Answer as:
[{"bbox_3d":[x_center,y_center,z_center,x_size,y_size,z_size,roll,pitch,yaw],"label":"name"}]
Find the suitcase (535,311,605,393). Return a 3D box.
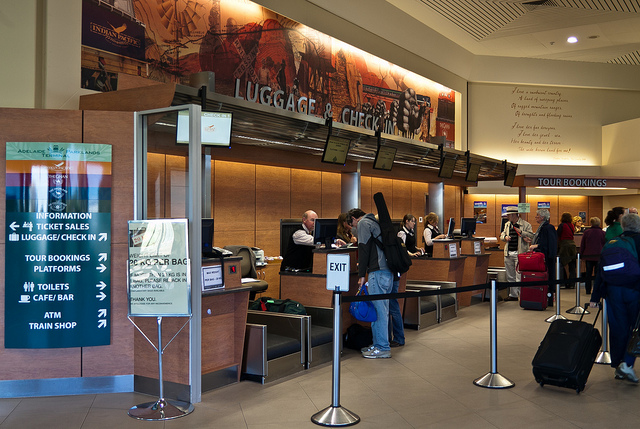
[{"bbox_3d":[2.993,1.713,5.741,0.533,0.771,0.733,3,3,43],"label":"suitcase"}]

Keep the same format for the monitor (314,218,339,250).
[{"bbox_3d":[0.073,0.297,7.155,0.497,0.467,0.159,0,5,-39],"label":"monitor"}]

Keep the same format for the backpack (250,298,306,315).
[{"bbox_3d":[-0.588,1.286,6.591,0.700,0.158,0.568,3,3,41],"label":"backpack"}]

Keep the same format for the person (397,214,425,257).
[{"bbox_3d":[1.754,0.424,9.340,0.436,0.851,1.008,1,2,13],"label":"person"}]

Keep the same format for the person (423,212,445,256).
[{"bbox_3d":[2.394,0.404,10.021,0.376,0.837,0.990,1,2,13],"label":"person"}]

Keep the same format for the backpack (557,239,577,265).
[{"bbox_3d":[5.877,0.912,11.266,0.361,0.639,0.641,2,3,26],"label":"backpack"}]

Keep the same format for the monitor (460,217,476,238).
[{"bbox_3d":[3.426,0.310,10.987,0.525,0.493,0.276,1,0,-31],"label":"monitor"}]

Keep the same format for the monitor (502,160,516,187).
[{"bbox_3d":[5.829,-1.263,14.595,0.295,0.794,0.650,2,3,22],"label":"monitor"}]

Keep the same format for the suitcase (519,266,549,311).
[{"bbox_3d":[4.366,1.559,9.680,0.511,0.817,0.363,2,3,22],"label":"suitcase"}]

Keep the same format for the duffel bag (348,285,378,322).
[{"bbox_3d":[0.597,1.329,6.559,0.345,0.291,0.196,1,3,9],"label":"duffel bag"}]

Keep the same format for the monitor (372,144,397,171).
[{"bbox_3d":[1.369,-1.214,10.172,0.082,0.556,0.831,20,12,34],"label":"monitor"}]

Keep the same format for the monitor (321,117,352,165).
[{"bbox_3d":[0.200,-1.383,8.901,0.400,0.856,0.769,19,12,38],"label":"monitor"}]

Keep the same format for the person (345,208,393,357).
[{"bbox_3d":[0.759,0.994,6.875,0.616,2.097,0.807,1,3,1],"label":"person"}]

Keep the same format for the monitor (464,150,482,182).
[{"bbox_3d":[4.261,-1.326,13.252,0.317,0.770,1.439,2,3,28],"label":"monitor"}]

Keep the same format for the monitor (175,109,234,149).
[{"bbox_3d":[-1.507,-1.110,6.093,0.742,0.488,0.070,3,7,-2],"label":"monitor"}]

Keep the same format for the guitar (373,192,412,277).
[{"bbox_3d":[1.025,0.303,6.809,0.508,1.233,0.390,2,3,21],"label":"guitar"}]

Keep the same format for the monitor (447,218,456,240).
[{"bbox_3d":[3.154,0.350,11.397,0.178,0.463,0.483,1,-3,22],"label":"monitor"}]

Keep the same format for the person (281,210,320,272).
[{"bbox_3d":[-0.342,0.425,7.458,0.551,0.916,0.624,0,3,-4],"label":"person"}]

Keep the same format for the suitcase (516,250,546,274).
[{"bbox_3d":[4.352,0.959,9.776,0.396,0.502,0.703,-2,-2,-44],"label":"suitcase"}]

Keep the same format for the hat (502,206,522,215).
[{"bbox_3d":[4.415,-0.102,10.849,0.394,0.161,0.450,-6,-7,44],"label":"hat"}]
